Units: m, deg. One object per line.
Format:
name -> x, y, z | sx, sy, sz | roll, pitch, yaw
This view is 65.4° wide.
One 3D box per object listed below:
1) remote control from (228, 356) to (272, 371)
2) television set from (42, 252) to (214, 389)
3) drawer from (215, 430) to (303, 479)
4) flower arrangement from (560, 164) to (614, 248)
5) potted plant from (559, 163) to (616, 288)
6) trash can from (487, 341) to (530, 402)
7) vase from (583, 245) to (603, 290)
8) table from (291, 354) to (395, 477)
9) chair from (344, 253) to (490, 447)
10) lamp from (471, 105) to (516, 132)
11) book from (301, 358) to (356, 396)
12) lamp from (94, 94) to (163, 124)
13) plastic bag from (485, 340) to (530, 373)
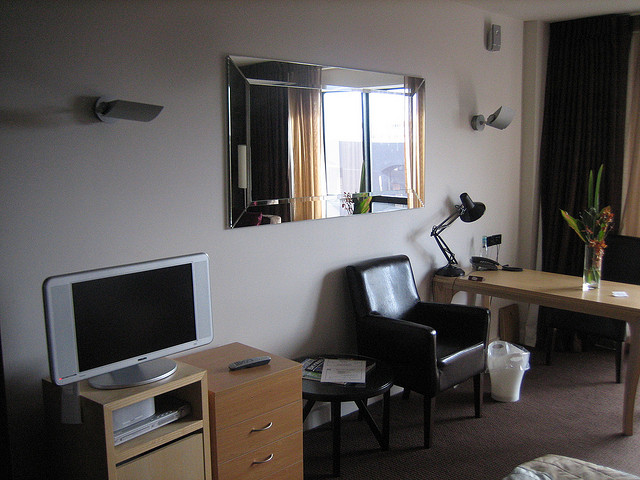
remote control -> -0.368, 0.638, 2.612 | 0.222, 0.048, 0.070 | -2, 3, -36
television set -> -0.857, 0.373, 2.318 | 0.735, 0.537, 0.346 | -8, 14, -41
drawer -> -0.326, 1.084, 2.504 | 0.340, 0.117, 0.244 | -4, 2, -44
flower arrangement -> 2.016, -0.220, 3.710 | 0.369, 0.644, 0.409 | 5, -6, -21
potted plant -> 2.046, -0.072, 3.640 | 0.347, 0.857, 0.272 | -7, 13, -23
trash can -> 1.359, 0.963, 3.865 | 0.357, 0.444, 0.424 | -3, 2, 2
vase -> 1.986, 0.204, 3.621 | 0.113, 0.302, 0.219 | 5, 12, 29
table -> 0.180, 1.053, 3.201 | 0.557, 0.584, 0.812 | -1, 11, 3
chair -> 0.717, 0.740, 3.453 | 0.927, 1.092, 0.958 | -1, 4, 2
lamp -> 1.461, -1.020, 4.245 | 0.339, 0.221, 0.192 | 7, 10, 41
book -> 0.049, 0.822, 2.963 | 0.299, 0.028, 0.422 | -2, 11, -3
lamp -> -0.953, -0.629, 2.531 | 0.245, 0.128, 0.342 | -25, 14, -31
plastic bag -> 1.398, 0.898, 3.807 | 0.323, 0.293, 0.319 | -18, -20, 26
